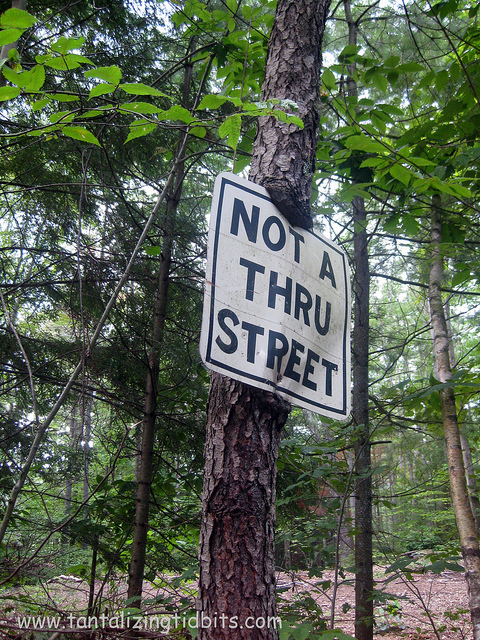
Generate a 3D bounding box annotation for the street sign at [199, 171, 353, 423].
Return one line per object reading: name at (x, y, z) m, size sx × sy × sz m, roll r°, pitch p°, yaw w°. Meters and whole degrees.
street sign at (0.224, -0.101, 3.294) m, size 0.084 × 1.007 × 1.085 m, roll -16°, pitch -29°, yaw 41°
